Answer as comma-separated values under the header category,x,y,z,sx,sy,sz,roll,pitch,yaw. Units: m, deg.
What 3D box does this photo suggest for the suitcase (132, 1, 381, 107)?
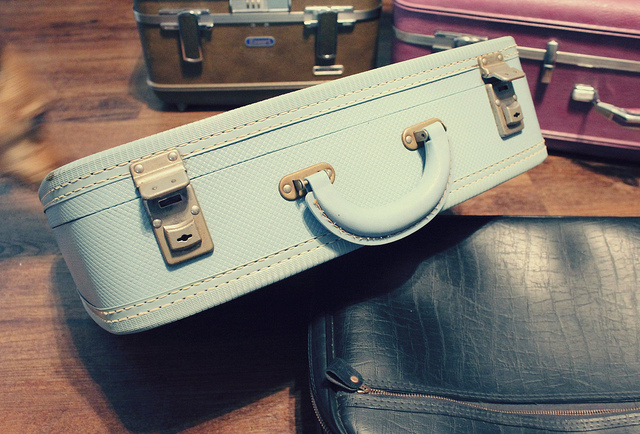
category,x,y,z,sx,sy,sz,roll,pitch,yaw
suitcase,-0.117,-0.283,1.079,0.282,0.200,0.214,-4,29,-2
